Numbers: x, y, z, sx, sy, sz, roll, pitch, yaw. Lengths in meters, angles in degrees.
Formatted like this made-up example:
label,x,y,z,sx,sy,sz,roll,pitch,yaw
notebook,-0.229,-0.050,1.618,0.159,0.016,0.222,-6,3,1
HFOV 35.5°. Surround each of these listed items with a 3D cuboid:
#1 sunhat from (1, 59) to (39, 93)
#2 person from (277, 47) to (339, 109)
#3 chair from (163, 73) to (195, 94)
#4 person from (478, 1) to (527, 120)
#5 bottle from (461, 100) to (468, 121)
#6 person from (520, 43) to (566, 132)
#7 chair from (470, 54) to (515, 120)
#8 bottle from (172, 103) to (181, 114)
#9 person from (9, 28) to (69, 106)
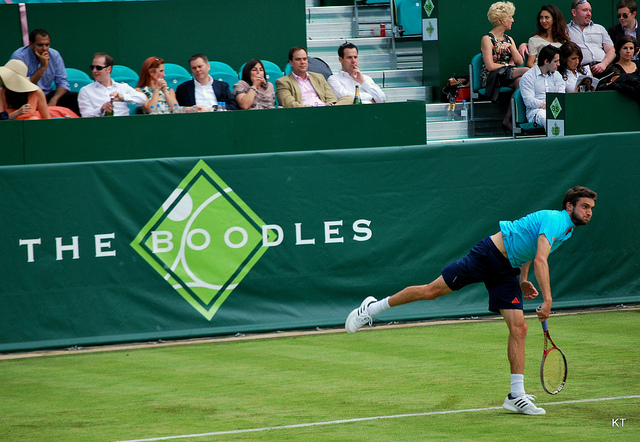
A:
label,x,y,z,sx,sy,sz,roll,pitch,yaw
sunhat,-4.020,-1.939,13.308,0.406,0.171,0.473,36,10,19
person,-0.191,-2.148,14.735,0.968,0.818,0.520,-10,15,-33
chair,-2.274,-2.210,16.217,0.525,0.295,0.394,2,-1,-12
person,2.990,-2.661,16.641,0.899,1.944,0.648,5,15,28
bottle,2.440,-1.874,17.081,0.106,0.282,0.225,0,13,8
person,3.406,-2.116,15.587,0.518,1.212,0.656,10,18,43
chair,2.879,-2.227,16.889,0.780,1.040,0.810,5,13,25
bottle,-2.013,-1.586,14.017,0.096,0.092,0.258,8,23,-5
person,-4.116,-2.249,14.793,0.839,1.100,1.154,-11,27,-40
